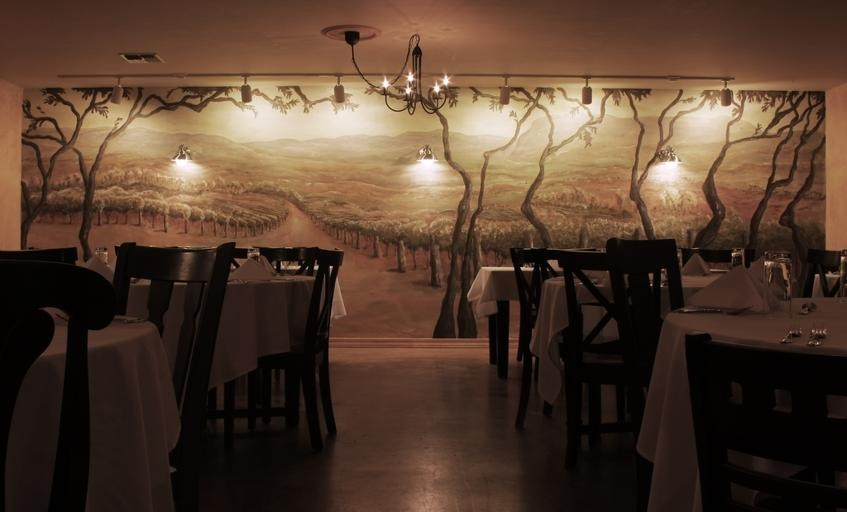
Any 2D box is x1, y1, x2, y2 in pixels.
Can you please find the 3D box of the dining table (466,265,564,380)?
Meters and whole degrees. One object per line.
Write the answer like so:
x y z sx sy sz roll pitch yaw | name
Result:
0.745 0.617 6.029 1.030 0.935 0.968 -1 2 -9 | dining table
